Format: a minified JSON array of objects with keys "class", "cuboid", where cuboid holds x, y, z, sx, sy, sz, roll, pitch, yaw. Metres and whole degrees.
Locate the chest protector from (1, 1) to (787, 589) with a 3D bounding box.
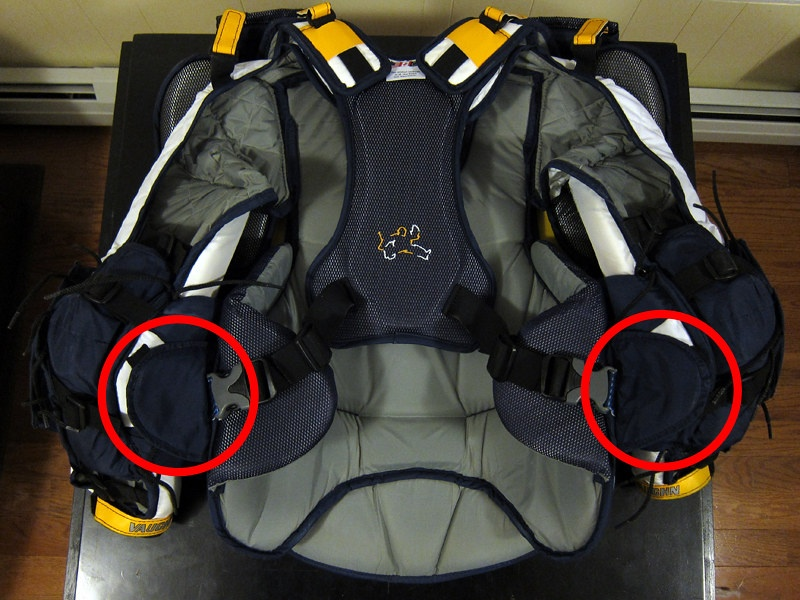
[{"class":"chest protector","cuboid":[0.000,0.011,2.692,1.953,0.741,1.546,0,89,-1]}]
